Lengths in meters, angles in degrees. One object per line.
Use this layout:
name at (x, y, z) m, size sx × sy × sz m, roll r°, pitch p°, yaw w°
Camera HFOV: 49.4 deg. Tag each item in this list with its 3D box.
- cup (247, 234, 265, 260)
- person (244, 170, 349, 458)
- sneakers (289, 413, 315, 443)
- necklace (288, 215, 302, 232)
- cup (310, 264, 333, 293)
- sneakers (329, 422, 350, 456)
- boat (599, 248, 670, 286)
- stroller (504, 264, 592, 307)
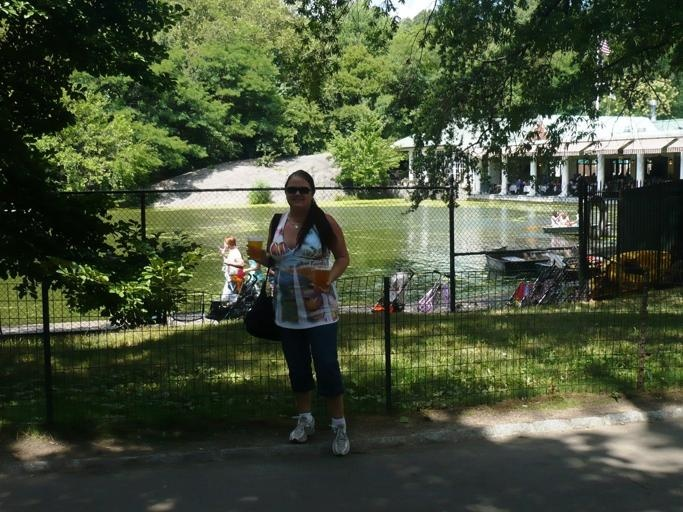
cup at (-0.801, -0.076, 7.201) m, size 0.195 × 0.224 × 0.203 m, roll -1°, pitch 5°, yaw 0°
person at (-0.361, 0.550, 7.432) m, size 0.879 × 2.813 × 0.568 m, roll -2°, pitch 2°, yaw -1°
sneakers at (-0.402, 1.759, 7.503) m, size 0.152 × 0.173 × 0.377 m, roll 2°, pitch -3°, yaw 12°
necklace at (-0.458, -0.312, 7.318) m, size 0.126 × 0.032 × 0.122 m, roll 41°, pitch -3°, yaw 39°
cup at (-0.222, 0.251, 7.194) m, size 0.208 × 0.239 × 0.209 m, roll 0°, pitch -1°, yaw 0°
sneakers at (-0.010, 1.794, 7.387) m, size 0.192 × 0.305 × 0.387 m, roll -2°, pitch 2°, yaw 0°
boat at (6.088, 0.300, 15.332) m, size 1.207 × 0.728 × 3.709 m, roll -1°, pitch 3°, yaw 25°
stroller at (4.412, 0.719, 15.603) m, size 1.180 × 0.589 × 1.643 m, roll -4°, pitch 14°, yaw 11°
